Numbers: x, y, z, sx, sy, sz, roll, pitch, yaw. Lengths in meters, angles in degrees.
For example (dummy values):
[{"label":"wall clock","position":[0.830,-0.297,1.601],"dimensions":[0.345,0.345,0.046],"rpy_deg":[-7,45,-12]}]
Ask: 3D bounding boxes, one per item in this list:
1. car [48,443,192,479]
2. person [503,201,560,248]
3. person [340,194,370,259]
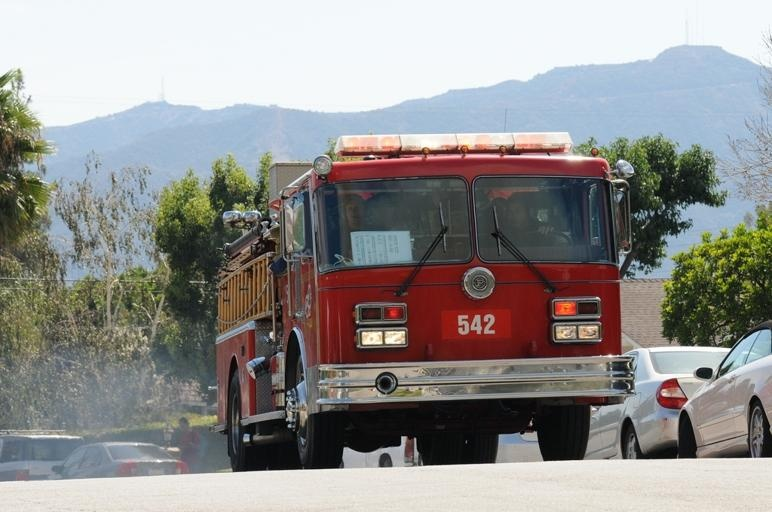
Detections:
[{"label":"car","position":[-6.502,5.014,34.080],"dimensions":[2.627,0.945,1.479],"rpy_deg":[0,-4,29]},{"label":"person","position":[2.396,-0.539,24.108],"dimensions":[0.795,0.876,0.195],"rpy_deg":[-2,3,-3]},{"label":"person","position":[-0.555,-0.526,23.845],"dimensions":[0.876,0.898,0.233],"rpy_deg":[2,-2,-11]}]
